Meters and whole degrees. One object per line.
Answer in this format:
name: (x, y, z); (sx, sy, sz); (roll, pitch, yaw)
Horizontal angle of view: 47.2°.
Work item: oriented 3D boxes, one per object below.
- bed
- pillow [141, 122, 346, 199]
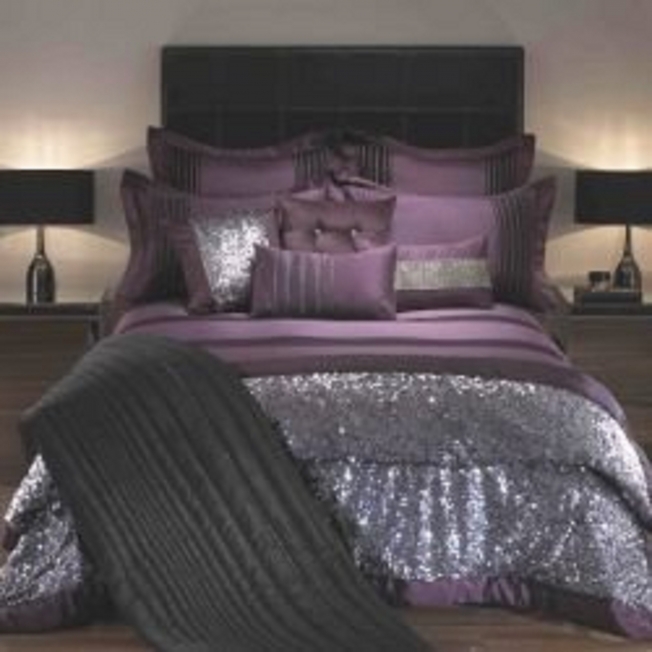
bed: (0.199, 0.008, 2.416); (1.304, 1.020, 1.530); (0, 11, 1)
pillow: (-0.328, -0.673, 3.221); (0.818, 0.341, 0.193); (-2, -2, -8)
